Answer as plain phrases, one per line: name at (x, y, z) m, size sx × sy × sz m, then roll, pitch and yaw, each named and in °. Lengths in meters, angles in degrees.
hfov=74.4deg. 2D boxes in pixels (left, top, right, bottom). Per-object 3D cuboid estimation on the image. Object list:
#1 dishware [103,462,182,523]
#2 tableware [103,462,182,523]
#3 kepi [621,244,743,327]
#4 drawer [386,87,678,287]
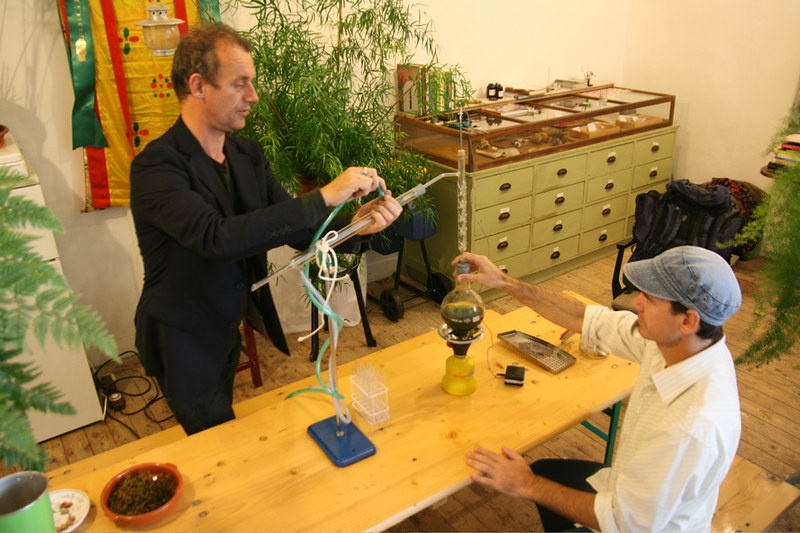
dishware at (-0.883, 0.783, 1.822) m, size 0.212 × 0.078 × 0.187 m, roll -3°, pitch 32°, yaw -13°
tableware at (-0.886, 0.783, 1.827) m, size 0.212 × 0.078 × 0.187 m, roll -3°, pitch 32°, yaw -13°
kepi at (0.967, 0.052, 1.851) m, size 0.370 × 0.177 × 0.251 m, roll 30°, pitch 27°, yaw 16°
drawer at (0.996, -0.659, 4.294) m, size 1.740 × 0.914 × 0.547 m, roll -20°, pitch 31°, yaw -32°
